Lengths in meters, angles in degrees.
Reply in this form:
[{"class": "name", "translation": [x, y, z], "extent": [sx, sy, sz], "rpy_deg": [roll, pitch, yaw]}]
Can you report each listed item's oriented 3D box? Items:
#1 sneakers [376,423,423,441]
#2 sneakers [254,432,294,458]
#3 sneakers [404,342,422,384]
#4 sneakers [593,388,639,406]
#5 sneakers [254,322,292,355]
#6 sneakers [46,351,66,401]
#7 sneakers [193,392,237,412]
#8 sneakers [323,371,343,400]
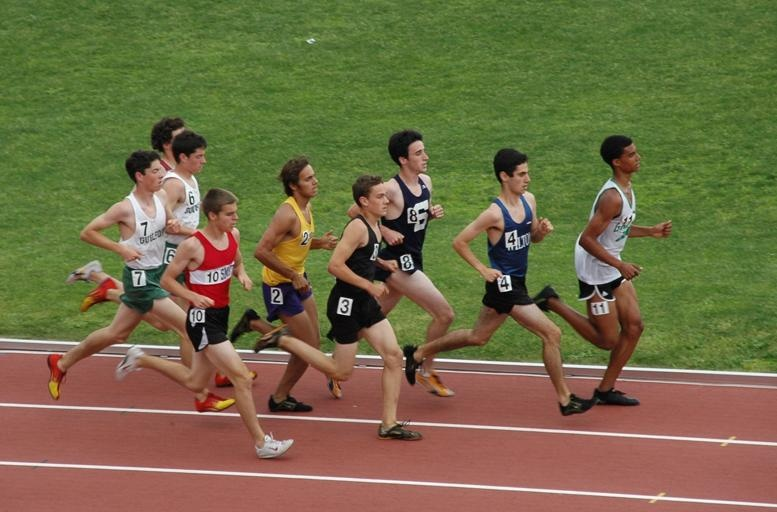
[{"class": "sneakers", "translation": [0.123, 2.025, 11.416], "extent": [0.588, 0.178, 0.194], "rpy_deg": [0, -1, 0]}, {"class": "sneakers", "translation": [-1.204, 2.082, 10.965], "extent": [0.565, 0.239, 0.184], "rpy_deg": [-6, 28, 12]}, {"class": "sneakers", "translation": [0.303, 1.302, 12.057], "extent": [0.240, 0.470, 0.183], "rpy_deg": [-2, 5, 3]}, {"class": "sneakers", "translation": [2.762, 1.707, 12.080], "extent": [0.715, 0.245, 0.234], "rpy_deg": [0, 1, -1]}, {"class": "sneakers", "translation": [-1.334, 0.970, 11.414], "extent": [0.536, 0.194, 0.224], "rpy_deg": [-36, 55, 1]}, {"class": "sneakers", "translation": [-4.041, 1.435, 11.849], "extent": [0.283, 0.550, 0.224], "rpy_deg": [-4, 4, 8]}, {"class": "sneakers", "translation": [-2.090, 1.746, 11.760], "extent": [0.603, 0.230, 0.201], "rpy_deg": [-3, 6, -9]}, {"class": "sneakers", "translation": [-0.689, 1.628, 12.228], "extent": [0.189, 0.413, 0.158], "rpy_deg": [-12, 2, 33]}]
